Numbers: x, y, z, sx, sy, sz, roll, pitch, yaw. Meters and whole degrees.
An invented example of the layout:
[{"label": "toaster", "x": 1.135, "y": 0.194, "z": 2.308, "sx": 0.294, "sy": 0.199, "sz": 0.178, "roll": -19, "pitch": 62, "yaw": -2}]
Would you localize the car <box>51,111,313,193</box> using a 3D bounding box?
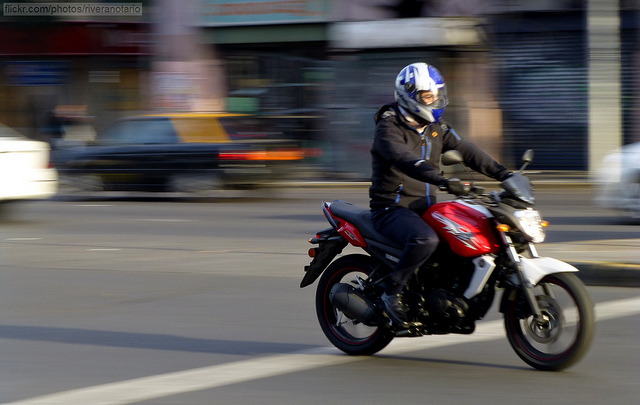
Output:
[{"label": "car", "x": -3.076, "y": -1.095, "z": 20.972, "sx": 4.851, "sy": 1.702, "sz": 1.145, "roll": 3, "pitch": 11, "yaw": 23}]
